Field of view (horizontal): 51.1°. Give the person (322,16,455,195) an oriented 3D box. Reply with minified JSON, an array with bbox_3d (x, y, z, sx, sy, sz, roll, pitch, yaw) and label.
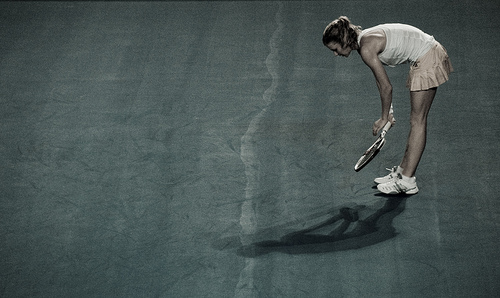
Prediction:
[{"bbox_3d":[1.376,-0.428,5.270,1.067,1.717,0.578,6,27,19],"label":"person"}]

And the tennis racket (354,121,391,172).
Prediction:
[{"bbox_3d":[1.298,-0.077,5.598,0.350,0.614,0.410,2,25,10],"label":"tennis racket"}]

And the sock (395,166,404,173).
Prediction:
[{"bbox_3d":[1.542,0.209,5.408,0.077,0.058,0.063,11,28,27],"label":"sock"}]
